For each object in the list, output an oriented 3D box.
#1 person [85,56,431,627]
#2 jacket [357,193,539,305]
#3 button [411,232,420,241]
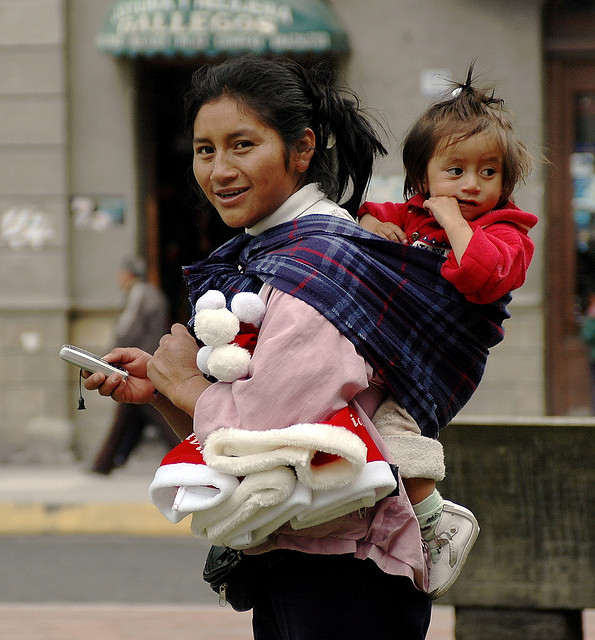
[{"bbox_3d":[-0.083,0.082,5.236,1.046,1.855,0.591,0,5,-7],"label":"person"},{"bbox_3d":[0.504,-0.287,5.379,0.568,0.351,0.572,12,18,23],"label":"jacket"},{"bbox_3d":[0.393,-0.270,5.316,0.024,0.027,0.008,-6,-18,20],"label":"button"}]
